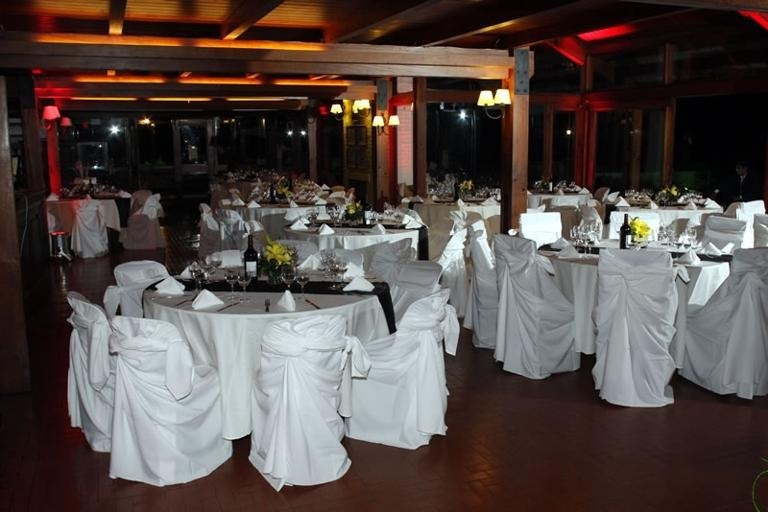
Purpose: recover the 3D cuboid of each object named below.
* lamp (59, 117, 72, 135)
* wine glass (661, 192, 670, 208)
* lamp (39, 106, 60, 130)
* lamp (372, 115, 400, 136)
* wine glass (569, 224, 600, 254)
[{"bbox_3d":[-10.071,-4.155,16.761,0.428,0.558,2.069,-7,10,-29],"label":"lamp"},{"bbox_3d":[5.074,-1.003,9.513,0.157,0.265,0.158,-7,5,-34],"label":"wine glass"},{"bbox_3d":[-7.967,-3.366,12.659,0.331,0.625,1.152,-7,10,-28],"label":"lamp"},{"bbox_3d":[0.053,-3.222,12.772,0.749,0.542,0.421,-5,9,-20],"label":"lamp"},{"bbox_3d":[2.279,-0.209,6.001,0.363,0.437,0.358,0,8,19],"label":"wine glass"}]
